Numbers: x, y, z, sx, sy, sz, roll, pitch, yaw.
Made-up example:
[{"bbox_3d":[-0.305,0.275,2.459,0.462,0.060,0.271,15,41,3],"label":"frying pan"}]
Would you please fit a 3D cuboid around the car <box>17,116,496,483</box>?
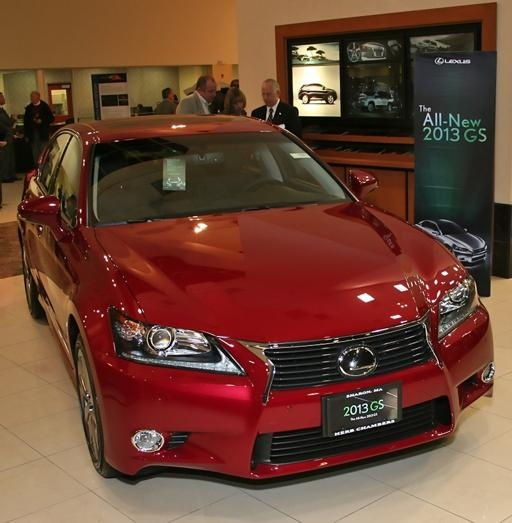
[{"bbox_3d":[-0.400,-0.088,2.291,1.479,0.814,2.606,-8,21,-24],"label":"car"}]
